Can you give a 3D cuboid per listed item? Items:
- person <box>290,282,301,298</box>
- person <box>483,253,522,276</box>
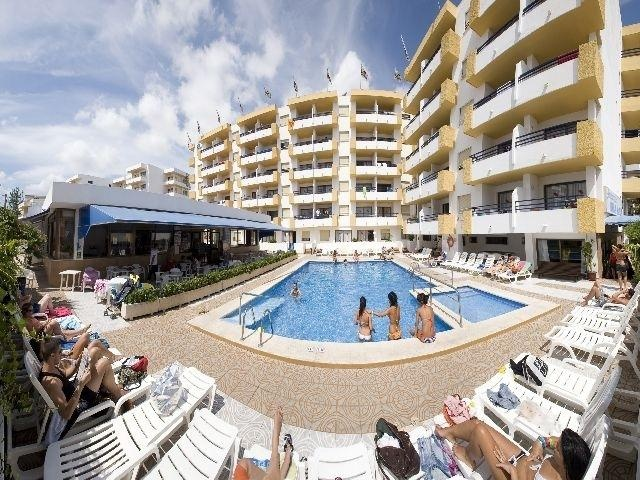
[{"bbox_3d":[-1.307,2.650,19.307,0.533,1.043,0.344,-3,-9,-2],"label":"person"},{"bbox_3d":[10.299,1.431,20.243,1.480,0.615,1.126,-11,12,-31],"label":"person"}]
